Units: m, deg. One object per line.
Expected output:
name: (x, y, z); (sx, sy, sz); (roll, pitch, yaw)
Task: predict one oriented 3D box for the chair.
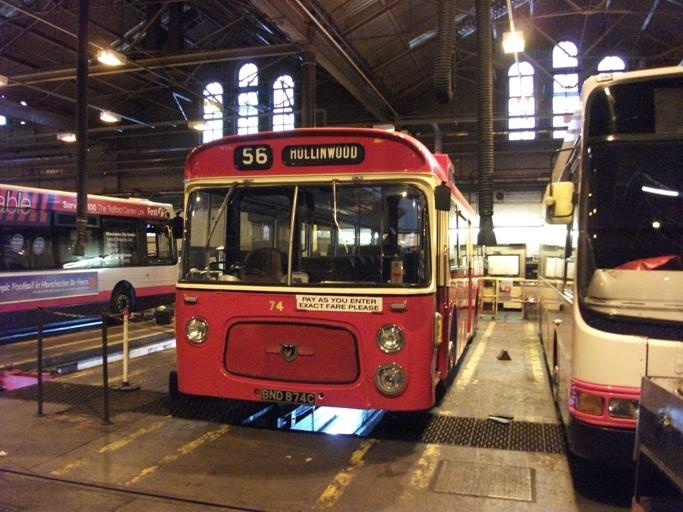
chair: (0.253, 0.113, 7.696); (1.596, 0.479, 0.327); (2, 7, 10)
